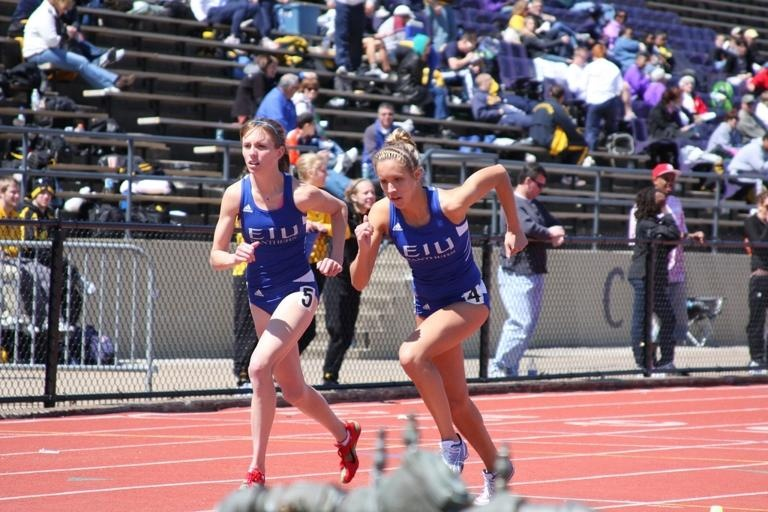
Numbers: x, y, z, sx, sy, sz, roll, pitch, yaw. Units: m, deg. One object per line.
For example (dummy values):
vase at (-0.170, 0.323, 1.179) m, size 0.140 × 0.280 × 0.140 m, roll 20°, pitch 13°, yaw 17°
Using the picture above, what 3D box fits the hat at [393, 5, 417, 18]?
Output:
hat at (0.409, -4.845, 26.176) m, size 0.293 × 0.192 × 0.423 m, roll 5°, pitch 8°, yaw 39°

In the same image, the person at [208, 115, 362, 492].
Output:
person at (-1.138, 0.513, 14.909) m, size 1.608 × 4.126 × 0.889 m, roll 0°, pitch 1°, yaw -8°

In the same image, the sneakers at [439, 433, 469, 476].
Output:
sneakers at (0.766, 2.183, 14.529) m, size 0.235 × 0.587 × 0.267 m, roll -15°, pitch -25°, yaw 21°

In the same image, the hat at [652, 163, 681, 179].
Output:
hat at (4.288, -1.323, 20.575) m, size 0.503 × 0.242 × 0.363 m, roll -4°, pitch -2°, yaw 42°

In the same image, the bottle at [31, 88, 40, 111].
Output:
bottle at (-5.826, -2.637, 22.295) m, size 0.193 × 0.380 × 0.284 m, roll 0°, pitch 1°, yaw -19°
